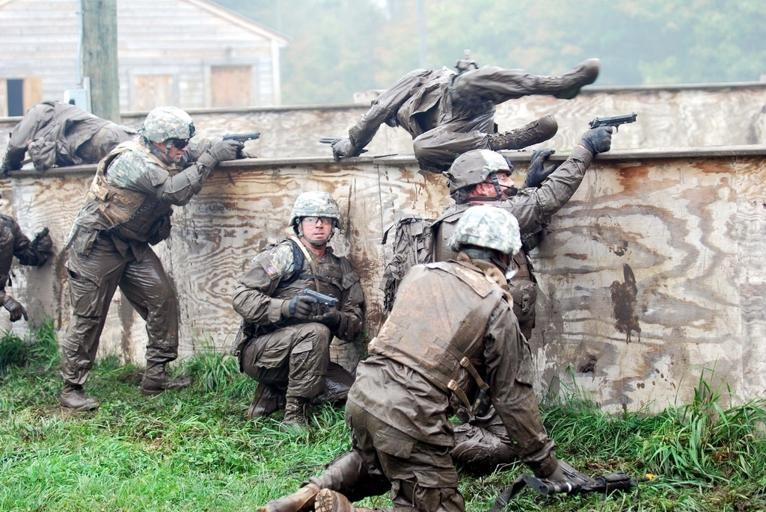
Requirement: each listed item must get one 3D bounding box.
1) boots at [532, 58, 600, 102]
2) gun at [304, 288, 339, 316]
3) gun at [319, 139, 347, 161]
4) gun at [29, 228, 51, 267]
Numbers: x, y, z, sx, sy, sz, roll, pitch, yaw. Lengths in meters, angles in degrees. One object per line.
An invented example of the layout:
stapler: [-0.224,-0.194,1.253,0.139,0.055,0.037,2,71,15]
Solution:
boots: [2.355,-2.214,14.479,0.999,0.376,0.297,-11,-19,40]
gun: [-0.822,0.606,14.623,0.448,0.312,0.079,31,30,18]
gun: [-0.605,-1.474,15.709,0.236,0.320,0.442,-10,3,-40]
gun: [-4.908,-0.115,16.362,0.364,0.473,0.205,21,-5,7]
